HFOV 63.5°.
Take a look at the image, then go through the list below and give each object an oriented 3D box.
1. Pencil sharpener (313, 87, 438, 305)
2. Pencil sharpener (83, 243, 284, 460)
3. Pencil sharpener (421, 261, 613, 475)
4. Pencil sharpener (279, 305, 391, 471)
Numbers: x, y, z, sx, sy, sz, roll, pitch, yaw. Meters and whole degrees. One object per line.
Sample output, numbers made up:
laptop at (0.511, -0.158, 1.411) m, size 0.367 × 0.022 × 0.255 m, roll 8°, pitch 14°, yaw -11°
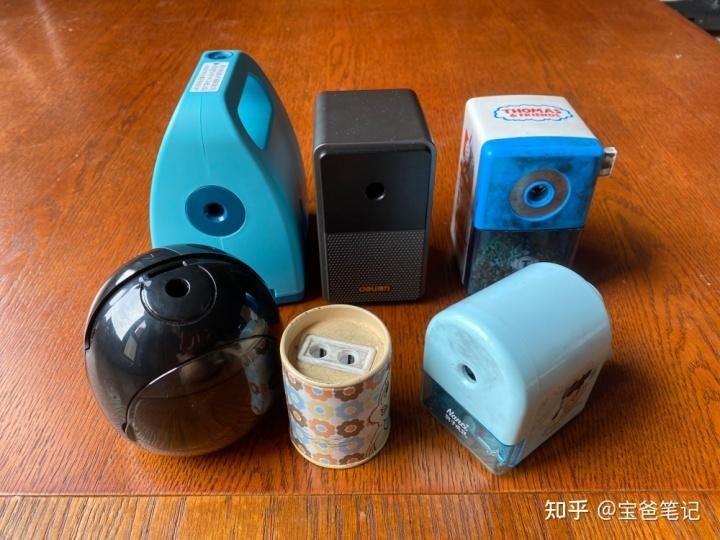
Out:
Pencil sharpener at (0.022, -0.102, 0.827) m, size 0.154 × 0.228 × 0.201 m, roll -1°, pitch 46°, yaw 2°
Pencil sharpener at (-0.207, 0.090, 0.703) m, size 0.220 × 0.225 × 0.222 m, roll -19°, pitch 29°, yaw -22°
Pencil sharpener at (0.205, 0.099, 0.734) m, size 0.225 × 0.222 × 0.167 m, roll -34°, pitch 50°, yaw -31°
Pencil sharpener at (-0.024, 0.133, 0.677) m, size 0.121 × 0.129 × 0.142 m, roll -1°, pitch 47°, yaw 2°
